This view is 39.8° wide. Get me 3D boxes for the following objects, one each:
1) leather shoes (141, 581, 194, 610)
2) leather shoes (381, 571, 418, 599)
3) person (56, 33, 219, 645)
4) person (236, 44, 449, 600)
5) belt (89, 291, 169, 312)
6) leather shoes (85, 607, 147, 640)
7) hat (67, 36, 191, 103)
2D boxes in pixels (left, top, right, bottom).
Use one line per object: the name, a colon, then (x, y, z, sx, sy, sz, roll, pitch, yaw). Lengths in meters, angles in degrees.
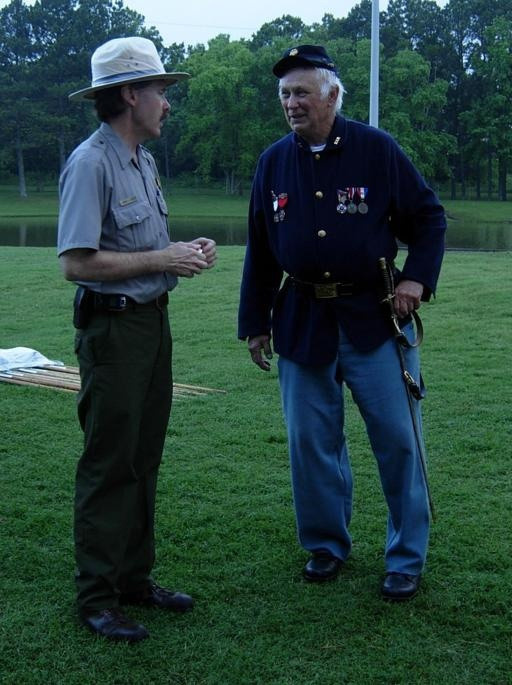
leather shoes: (-0.338, 0.928, 2.627, 0.242, 0.083, 0.073, 0, 25, 12)
leather shoes: (0.548, 0.902, 2.646, 0.165, 0.070, 0.118, -1, 7, -4)
person: (-0.459, -0.047, 2.501, 0.417, 2.055, 0.582, 4, 10, 33)
person: (0.290, -0.115, 2.820, 0.858, 2.061, 0.469, 4, 10, 32)
belt: (-0.434, -0.147, 2.501, 0.104, 0.066, 0.309, 5, 8, 38)
leather shoes: (-0.475, 0.949, 2.380, 0.192, 0.062, 0.094, 2, 4, 28)
hat: (-0.452, -0.981, 2.501, 0.456, 0.144, 0.367, -14, 24, -14)
